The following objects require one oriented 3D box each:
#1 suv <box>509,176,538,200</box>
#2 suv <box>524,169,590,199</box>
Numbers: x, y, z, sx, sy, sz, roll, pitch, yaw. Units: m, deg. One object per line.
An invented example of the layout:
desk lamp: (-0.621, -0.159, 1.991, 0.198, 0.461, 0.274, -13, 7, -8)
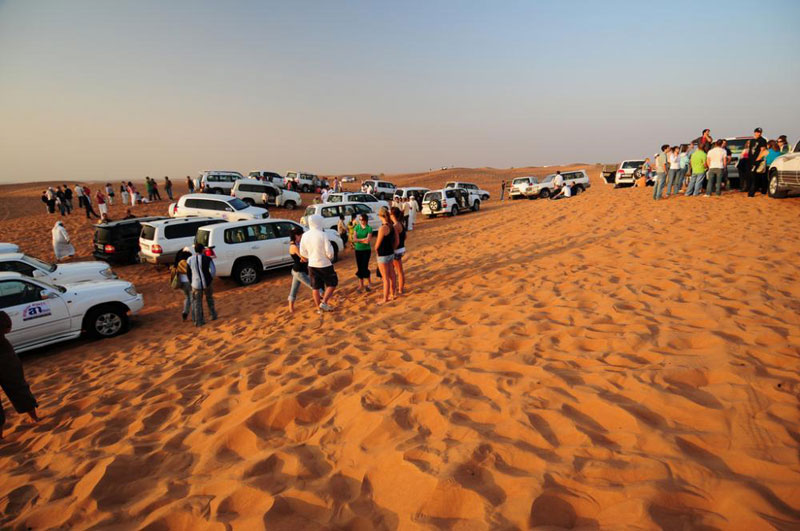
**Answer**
suv: (8.647, -5.414, 30.103, 1.446, 0.928, 2.372, 3, 15, 32)
suv: (10.728, -5.399, 28.969, 4.508, 1.443, 1.903, -3, 10, -6)
